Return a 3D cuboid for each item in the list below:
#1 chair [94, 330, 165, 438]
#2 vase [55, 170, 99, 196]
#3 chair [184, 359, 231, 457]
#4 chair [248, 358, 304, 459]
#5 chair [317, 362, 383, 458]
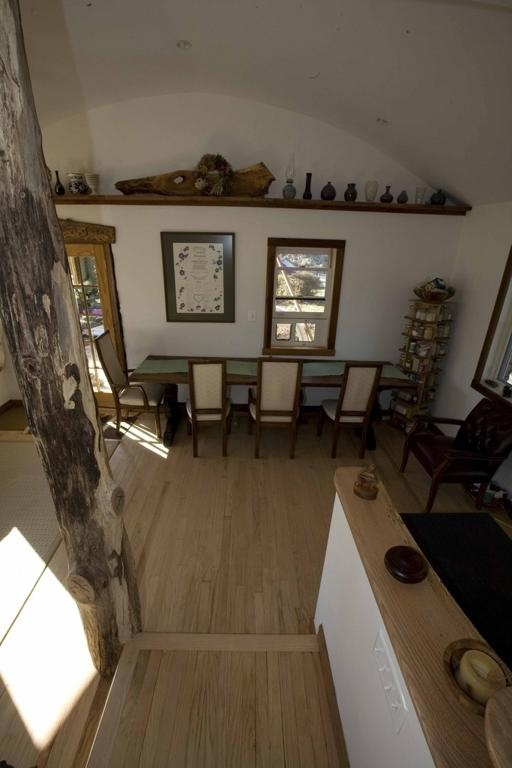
[{"bbox_3d":[-1.106,-0.015,3.931,0.571,0.879,0.531,3,20,8],"label":"chair"},{"bbox_3d":[-1.521,-1.697,3.693,0.374,0.245,0.230,-1,41,-9],"label":"vase"},{"bbox_3d":[-0.386,0.200,3.474,0.322,0.924,0.243,0,25,-9],"label":"chair"},{"bbox_3d":[0.170,0.150,3.614,0.483,0.898,0.526,-2,21,-12],"label":"chair"},{"bbox_3d":[0.782,0.173,3.644,0.404,0.930,0.487,4,25,0],"label":"chair"}]
